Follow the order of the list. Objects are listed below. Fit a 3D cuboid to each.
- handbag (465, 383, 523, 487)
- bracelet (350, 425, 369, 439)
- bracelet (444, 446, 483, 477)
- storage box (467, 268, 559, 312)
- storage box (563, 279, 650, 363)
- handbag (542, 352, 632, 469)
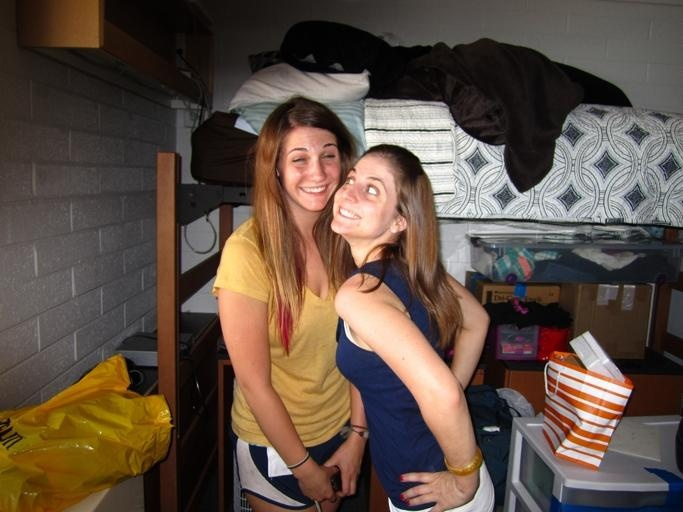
[{"bbox_3d":[0.702,0.846,2.536,0.263,0.112,0.368,2,47,-14],"label":"handbag"},{"bbox_3d":[0.069,0.655,2.001,0.045,0.022,0.061,16,-5,-8],"label":"bracelet"},{"bbox_3d":[0.380,0.627,1.623,0.087,0.034,0.088,-12,-15,-29],"label":"bracelet"},{"bbox_3d":[0.980,0.195,3.077,0.260,0.177,0.262,1,11,5],"label":"storage box"},{"bbox_3d":[1.464,0.336,3.057,0.394,0.422,0.410,1,5,3],"label":"storage box"},{"bbox_3d":[0.879,0.605,2.031,0.210,0.328,0.274,15,-3,3],"label":"handbag"}]
